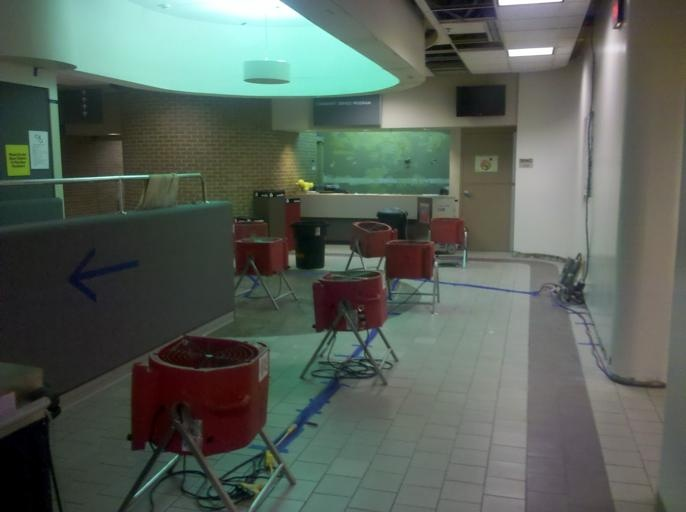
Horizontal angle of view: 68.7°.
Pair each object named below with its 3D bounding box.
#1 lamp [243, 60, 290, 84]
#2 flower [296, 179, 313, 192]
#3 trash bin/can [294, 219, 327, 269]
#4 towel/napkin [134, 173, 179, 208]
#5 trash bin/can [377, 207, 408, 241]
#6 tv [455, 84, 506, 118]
[{"bbox_3d":[-1.174,-2.778,7.580,0.460,0.189,0.475,6,12,27],"label":"lamp"},{"bbox_3d":[-0.976,-1.831,13.127,0.383,0.229,0.297,2,5,33],"label":"flower"},{"bbox_3d":[-0.614,-0.201,10.149,0.801,0.851,0.795,-1,-1,-9],"label":"trash bin/can"},{"bbox_3d":[-1.960,-0.699,5.456,0.243,0.365,0.569,3,10,21],"label":"towel/napkin"},{"bbox_3d":[1.089,-0.689,11.376,0.635,0.779,0.648,0,2,1],"label":"trash bin/can"},{"bbox_3d":[2.996,-3.321,10.747,0.695,0.462,0.101,2,2,22],"label":"tv"}]
